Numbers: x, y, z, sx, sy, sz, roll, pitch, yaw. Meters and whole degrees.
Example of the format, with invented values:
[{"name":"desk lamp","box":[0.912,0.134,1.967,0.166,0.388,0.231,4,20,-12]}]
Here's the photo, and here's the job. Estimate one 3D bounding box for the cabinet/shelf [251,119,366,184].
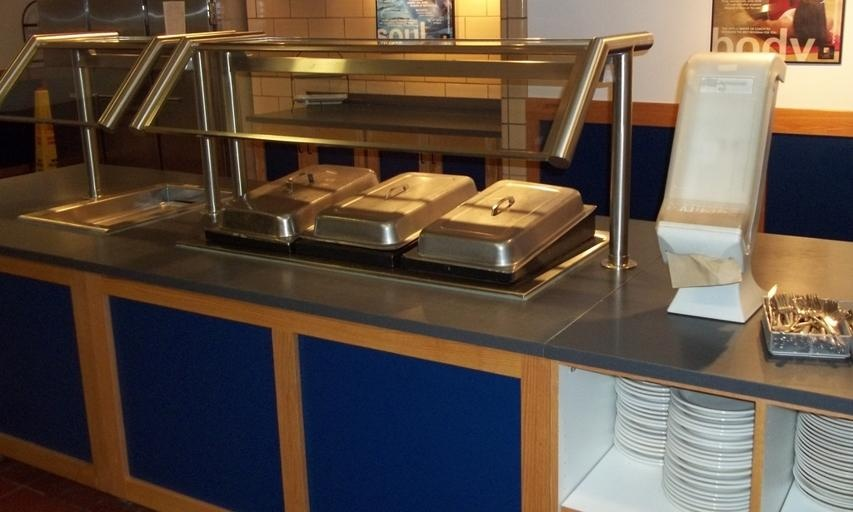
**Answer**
[{"name":"cabinet/shelf","box":[-0.776,-0.691,5.337,0.420,0.513,0.596,18,1,-19]}]
